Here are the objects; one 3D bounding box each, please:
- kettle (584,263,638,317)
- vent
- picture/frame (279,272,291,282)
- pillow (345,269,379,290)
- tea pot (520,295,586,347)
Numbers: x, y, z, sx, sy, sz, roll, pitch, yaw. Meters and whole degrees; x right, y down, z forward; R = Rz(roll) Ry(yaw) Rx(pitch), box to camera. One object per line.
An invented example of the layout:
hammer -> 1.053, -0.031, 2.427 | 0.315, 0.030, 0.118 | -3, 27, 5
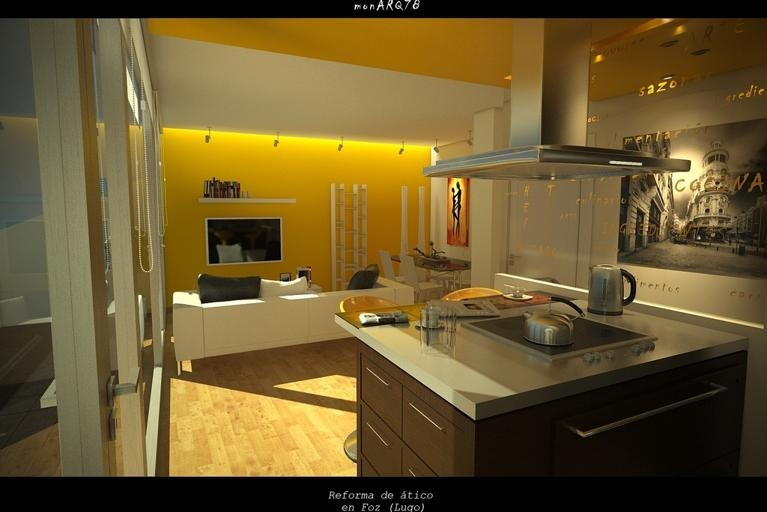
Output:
kettle -> 1.265, 0.183, 2.841 | 0.336, 0.304, 0.209 | 4, 8, 34
vent -> 0.878, -0.808, 2.627 | 1.227, 0.770, 1.323 | 4, 9, 26
picture/frame -> -1.453, 0.301, 7.570 | 0.090, 0.118, 0.141 | -1, 0, 43
pillow -> -0.222, 0.240, 5.646 | 0.270, 0.293, 0.241 | -1, 4, 9
tea pot -> 0.768, 0.297, 2.495 | 0.222, 0.237, 0.326 | -4, 6, -34
